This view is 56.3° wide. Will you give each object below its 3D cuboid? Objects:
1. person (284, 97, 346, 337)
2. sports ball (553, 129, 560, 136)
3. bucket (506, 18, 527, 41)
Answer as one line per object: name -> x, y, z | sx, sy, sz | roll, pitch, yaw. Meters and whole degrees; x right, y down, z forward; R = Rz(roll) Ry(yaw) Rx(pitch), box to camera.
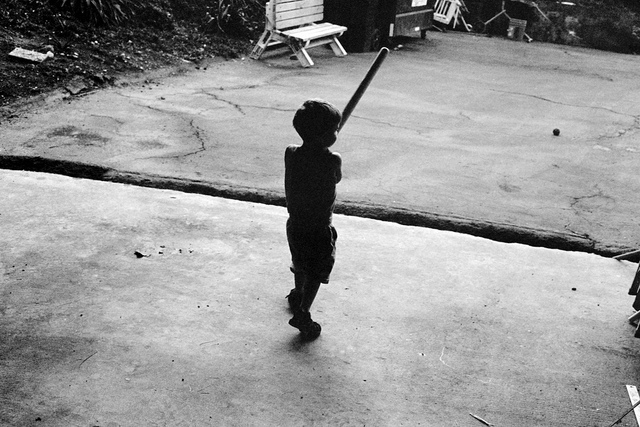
person -> -0.073, 0.044, 5.221 | 0.484, 1.929, 0.819 | 1, 29, -3
sports ball -> 3.820, -1.324, 9.711 | 0.104, 0.087, 0.095 | -4, 28, 2
bucket -> 5.939, -5.576, 18.077 | 0.493, 0.506, 1.084 | 10, 28, 12
